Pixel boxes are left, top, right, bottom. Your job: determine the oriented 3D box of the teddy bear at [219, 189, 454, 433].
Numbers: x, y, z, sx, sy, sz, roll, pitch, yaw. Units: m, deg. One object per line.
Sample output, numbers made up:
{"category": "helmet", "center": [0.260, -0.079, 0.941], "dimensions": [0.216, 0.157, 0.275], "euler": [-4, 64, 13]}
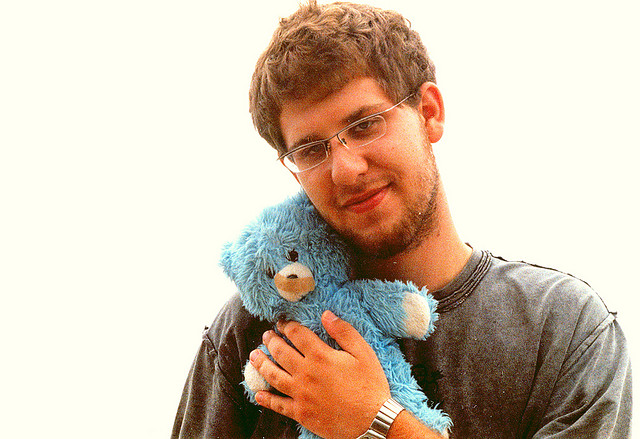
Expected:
{"category": "teddy bear", "center": [0.125, 0.408, 3.356], "dimensions": [0.679, 0.860, 0.376], "euler": [-34, -14, -6]}
